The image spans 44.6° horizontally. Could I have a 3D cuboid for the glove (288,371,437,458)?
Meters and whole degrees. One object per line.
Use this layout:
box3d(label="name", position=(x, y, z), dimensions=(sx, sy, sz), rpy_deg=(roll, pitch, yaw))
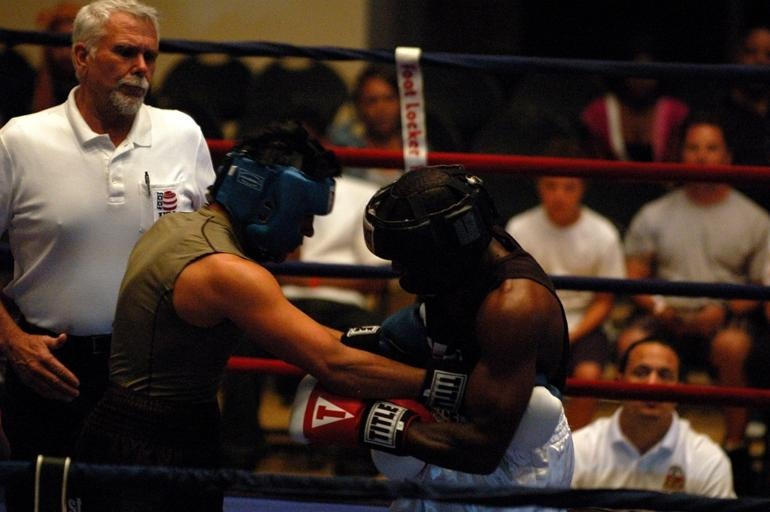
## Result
box3d(label="glove", position=(-0.122, 0.593, 3.565), dimensions=(0.407, 0.132, 0.281), rpy_deg=(4, 4, 8))

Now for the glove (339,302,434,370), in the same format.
box3d(label="glove", position=(0.004, 0.322, 3.828), dimensions=(0.362, 0.229, 0.255), rpy_deg=(2, 13, -10))
